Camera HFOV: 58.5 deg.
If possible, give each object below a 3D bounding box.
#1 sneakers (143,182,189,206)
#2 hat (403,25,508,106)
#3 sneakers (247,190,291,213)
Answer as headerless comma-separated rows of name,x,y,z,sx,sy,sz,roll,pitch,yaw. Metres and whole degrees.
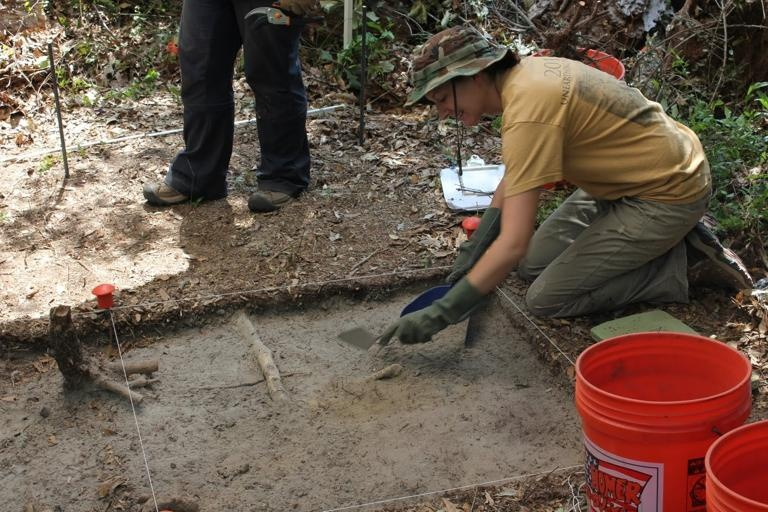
sneakers,-1.589,-0.443,5.039,0.388,0.149,0.123,5,60,-11
hat,0.436,-0.984,3.664,0.509,0.239,0.495,-27,6,19
sneakers,-0.824,-0.392,4.956,0.332,0.114,0.126,-1,16,-13
